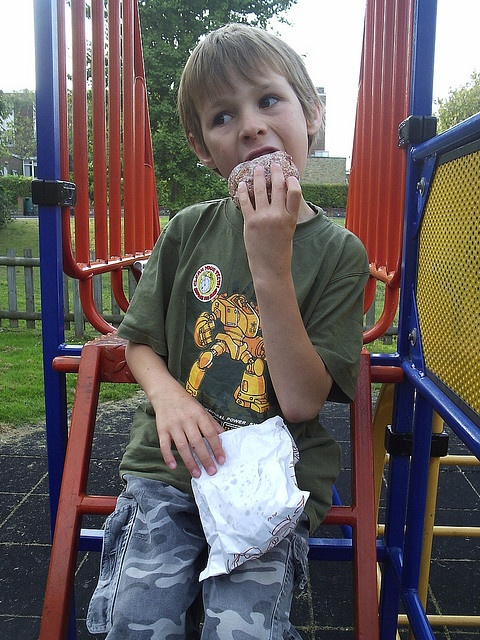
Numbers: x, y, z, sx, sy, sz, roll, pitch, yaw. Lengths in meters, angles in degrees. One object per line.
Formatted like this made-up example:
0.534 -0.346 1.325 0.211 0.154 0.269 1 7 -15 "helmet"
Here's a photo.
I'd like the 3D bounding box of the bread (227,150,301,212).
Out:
0.033 -0.263 0.984 0.141 0.104 0.109 4 10 21 "bread"
